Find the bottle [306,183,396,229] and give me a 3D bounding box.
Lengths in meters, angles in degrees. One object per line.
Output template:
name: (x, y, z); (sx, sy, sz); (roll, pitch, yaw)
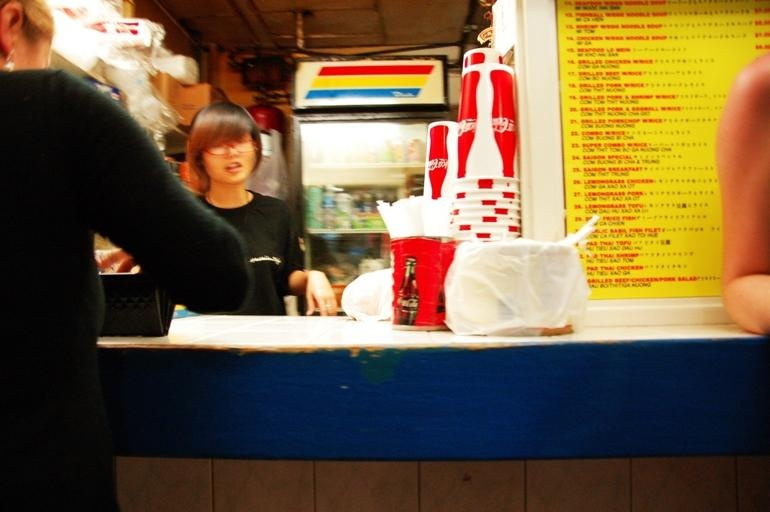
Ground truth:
bottle: (-0.265, -0.284, 5.000); (0.588, 0.258, 0.251); (-1, -9, -4)
